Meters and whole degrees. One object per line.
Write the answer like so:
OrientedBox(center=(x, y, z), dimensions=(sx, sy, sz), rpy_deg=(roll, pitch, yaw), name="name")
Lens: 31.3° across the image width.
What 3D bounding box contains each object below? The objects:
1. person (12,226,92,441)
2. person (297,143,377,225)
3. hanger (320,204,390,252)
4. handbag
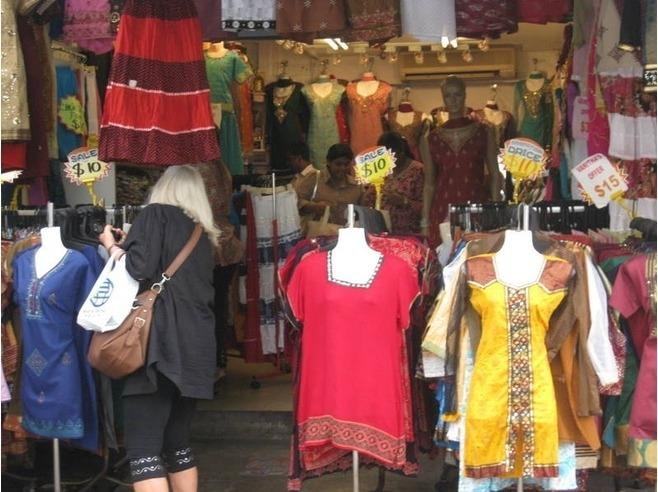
OrientedBox(center=(-1.483, 0.501, 6.429), dimensions=(0.445, 1.201, 0.207), rpy_deg=(-2, 7, -5), name="person")
OrientedBox(center=(0.028, -0.404, 8.454), dimensions=(0.648, 0.913, 0.509), rpy_deg=(1, -4, -1), name="person")
OrientedBox(center=(0.149, -0.133, 6.549), dimensions=(0.247, 0.344, 0.338), rpy_deg=(1, 4, 29), name="hanger")
OrientedBox(center=(-1.058, 0.453, 6.097), dimensions=(0.232, 0.431, 0.372), rpy_deg=(27, -16, -31), name="handbag")
